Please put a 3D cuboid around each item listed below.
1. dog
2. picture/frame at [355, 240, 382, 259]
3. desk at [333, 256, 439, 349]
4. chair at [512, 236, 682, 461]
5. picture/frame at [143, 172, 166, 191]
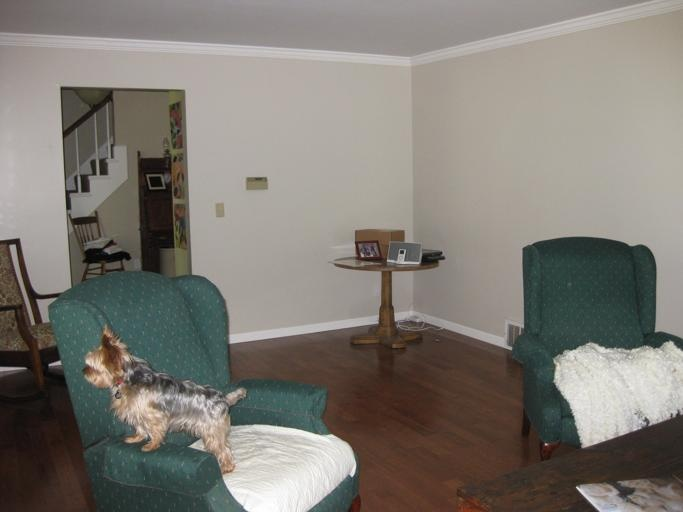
[{"bbox_3d":[-0.758,0.613,2.264,0.557,0.652,0.262,-6,11,-29],"label":"dog"},{"bbox_3d":[0.292,-0.070,5.737,0.185,0.175,0.015,1,-19,-10],"label":"picture/frame"},{"bbox_3d":[0.436,0.497,5.612,0.911,0.745,0.927,-2,3,-24],"label":"desk"},{"bbox_3d":[1.548,0.476,3.572,1.140,1.607,1.224,0,-1,6],"label":"chair"},{"bbox_3d":[-2.722,-1.085,7.902,0.272,0.252,0.150,-7,12,-32],"label":"picture/frame"}]
